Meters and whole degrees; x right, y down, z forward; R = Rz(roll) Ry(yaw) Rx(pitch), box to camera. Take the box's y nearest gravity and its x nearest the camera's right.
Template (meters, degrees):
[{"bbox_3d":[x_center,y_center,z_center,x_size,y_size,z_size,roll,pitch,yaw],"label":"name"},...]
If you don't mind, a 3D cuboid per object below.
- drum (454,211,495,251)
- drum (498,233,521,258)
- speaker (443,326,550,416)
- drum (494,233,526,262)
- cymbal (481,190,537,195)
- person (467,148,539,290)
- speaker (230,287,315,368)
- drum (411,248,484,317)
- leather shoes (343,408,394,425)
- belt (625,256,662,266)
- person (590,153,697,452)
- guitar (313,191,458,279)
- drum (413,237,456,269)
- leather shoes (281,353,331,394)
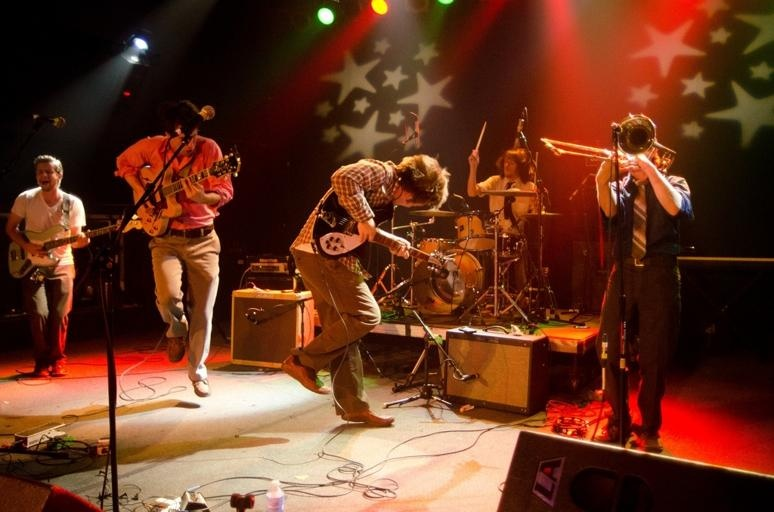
[{"bbox_3d":[1.231,-0.298,8.240,0.477,0.362,0.457,19,-19,7],"label":"drum"},{"bbox_3d":[1.596,-0.149,7.789,0.298,0.272,0.094,-6,14,-24],"label":"drum"},{"bbox_3d":[1.178,1.189,6.612,0.907,0.808,0.573,4,7,20],"label":"speaker"},{"bbox_3d":[1.630,-0.122,7.843,0.307,0.334,0.307,0,1,-42],"label":"drum"},{"bbox_3d":[1.585,-0.812,7.826,0.244,0.027,0.227,-1,0,-39],"label":"cymbal"},{"bbox_3d":[1.677,-0.415,8.696,0.879,2.269,0.909,1,21,10],"label":"person"},{"bbox_3d":[-1.278,0.916,7.865,0.866,0.936,0.652,2,0,13],"label":"speaker"},{"bbox_3d":[0.898,0.332,8.322,0.745,0.825,0.595,6,-10,-22],"label":"drum"},{"bbox_3d":[-0.078,1.593,6.069,0.499,0.199,0.192,2,-10,2],"label":"leather shoes"},{"bbox_3d":[2.363,0.043,5.718,0.293,0.119,0.044,5,14,19],"label":"belt"},{"bbox_3d":[2.376,0.423,5.703,0.833,2.662,0.990,1,13,4],"label":"person"},{"bbox_3d":[-0.035,-0.249,5.929,1.167,0.756,0.292,-3,13,-11],"label":"guitar"},{"bbox_3d":[0.625,-0.012,7.441,0.368,0.388,0.382,-3,-9,24],"label":"drum"},{"bbox_3d":[-0.680,1.198,6.079,0.514,0.220,0.161,41,-28,-13],"label":"leather shoes"}]
